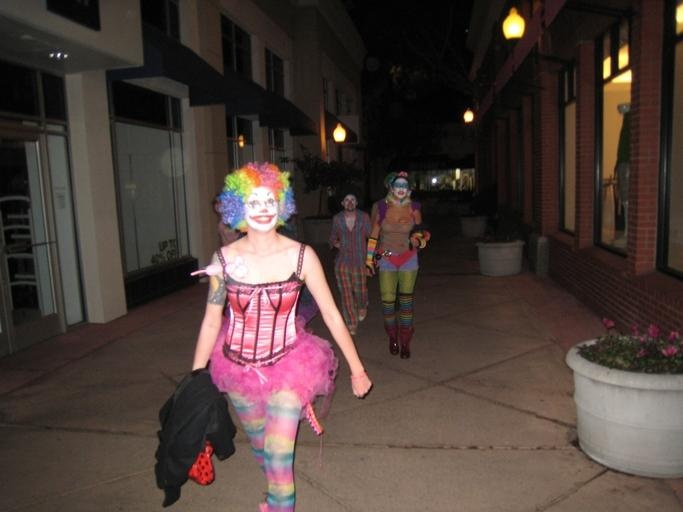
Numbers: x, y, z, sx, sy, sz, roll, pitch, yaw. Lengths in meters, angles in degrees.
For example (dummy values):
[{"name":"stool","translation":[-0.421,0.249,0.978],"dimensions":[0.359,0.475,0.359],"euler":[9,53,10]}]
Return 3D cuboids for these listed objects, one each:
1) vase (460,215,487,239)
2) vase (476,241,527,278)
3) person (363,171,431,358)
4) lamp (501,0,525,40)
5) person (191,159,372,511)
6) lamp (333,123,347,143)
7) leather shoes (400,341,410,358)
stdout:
[{"name":"vase","translation":[5.147,-1.111,20.927],"dimensions":[0.809,0.679,0.861],"euler":[0,-1,-3]},{"name":"vase","translation":[3.766,0.065,12.486],"dimensions":[0.902,0.692,0.808],"euler":[-1,0,6]},{"name":"person","translation":[0.799,0.101,7.407],"dimensions":[0.840,2.501,0.569],"euler":[7,13,38]},{"name":"lamp","translation":[3.674,-4.956,11.275],"dimensions":[0.363,0.611,0.597],"euler":[4,12,26]},{"name":"person","translation":[-0.498,0.527,3.931],"dimensions":[1.151,2.385,0.822],"euler":[5,12,30]},{"name":"lamp","translation":[-0.074,-4.822,20.556],"dimensions":[0.375,0.644,1.054],"euler":[0,11,5]},{"name":"leather shoes","translation":[0.891,1.271,7.355],"dimensions":[0.148,0.207,0.248],"euler":[0,11,7]}]
